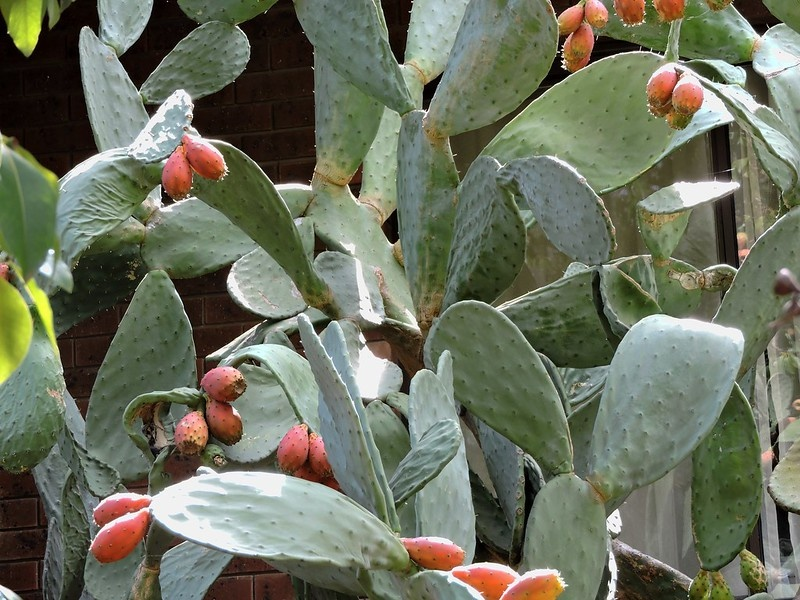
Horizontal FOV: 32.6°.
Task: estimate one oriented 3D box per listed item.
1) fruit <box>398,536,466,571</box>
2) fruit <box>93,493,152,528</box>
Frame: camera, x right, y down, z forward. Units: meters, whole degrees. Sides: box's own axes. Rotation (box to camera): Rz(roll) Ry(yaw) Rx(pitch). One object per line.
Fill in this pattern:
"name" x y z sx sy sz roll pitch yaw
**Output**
"fruit" 0.060 0.460 2.501 0.092 0.054 0.058 15 18 10
"fruit" -0.509 0.375 2.502 0.092 0.059 0.056 -13 -3 -9
